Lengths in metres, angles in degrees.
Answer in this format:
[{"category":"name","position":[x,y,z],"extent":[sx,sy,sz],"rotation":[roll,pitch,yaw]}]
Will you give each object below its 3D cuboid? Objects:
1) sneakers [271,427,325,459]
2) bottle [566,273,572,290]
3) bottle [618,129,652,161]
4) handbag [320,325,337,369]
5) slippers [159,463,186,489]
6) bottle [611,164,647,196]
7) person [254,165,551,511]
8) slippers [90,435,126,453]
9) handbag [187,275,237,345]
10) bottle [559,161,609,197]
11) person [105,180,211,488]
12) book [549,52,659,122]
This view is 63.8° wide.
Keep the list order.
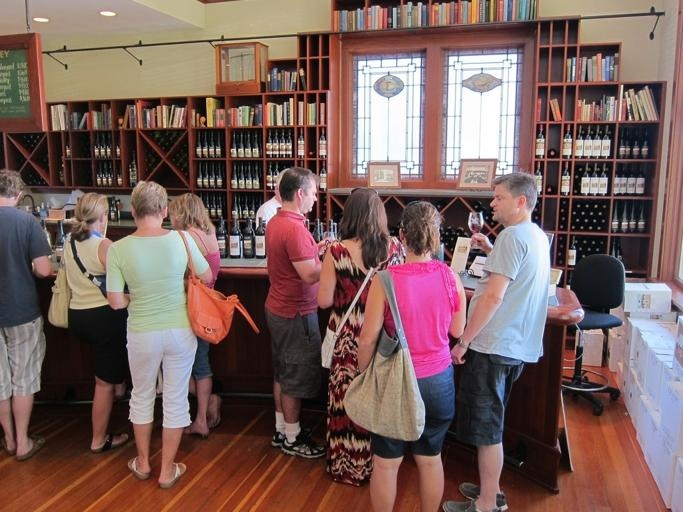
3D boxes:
[{"category":"sneakers","position":[-0.275,1.311,3.865],"extent":[0.407,0.210,0.153],"rotation":[5,-3,6]},{"category":"bottle","position":[2.241,0.244,5.412],"extent":[0.039,0.156,0.161],"rotation":[6,1,24]},{"category":"bottle","position":[2.978,-1.148,5.596],"extent":[0.292,0.282,0.205],"rotation":[2,12,21]},{"category":"handbag","position":[-0.086,0.565,3.341],"extent":[0.072,0.207,0.154],"rotation":[8,-4,-15]},{"category":"slippers","position":[-1.087,1.417,3.560],"extent":[0.082,0.051,0.163],"rotation":[5,18,11]},{"category":"bottle","position":[2.929,-0.760,5.602],"extent":[0.305,0.331,0.084],"rotation":[-1,2,9]},{"category":"person","position":[0.477,0.517,3.221],"extent":[1.454,1.924,0.811],"rotation":[-3,11,-6]},{"category":"slippers","position":[-1.616,1.312,3.844],"extent":[0.097,0.072,0.188],"rotation":[9,10,41]},{"category":"handbag","position":[-0.862,0.338,3.588],"extent":[0.138,0.485,0.387],"rotation":[-12,-28,40]},{"category":"bottle","position":[2.519,-0.790,5.683],"extent":[0.536,0.310,0.288],"rotation":[-2,11,0]},{"category":"person","position":[-1.168,0.486,3.589],"extent":[0.602,1.904,0.540],"rotation":[1,9,-11]},{"category":"book","position":[2.638,-1.689,5.522],"extent":[1.013,0.693,0.406],"rotation":[3,12,23]}]
